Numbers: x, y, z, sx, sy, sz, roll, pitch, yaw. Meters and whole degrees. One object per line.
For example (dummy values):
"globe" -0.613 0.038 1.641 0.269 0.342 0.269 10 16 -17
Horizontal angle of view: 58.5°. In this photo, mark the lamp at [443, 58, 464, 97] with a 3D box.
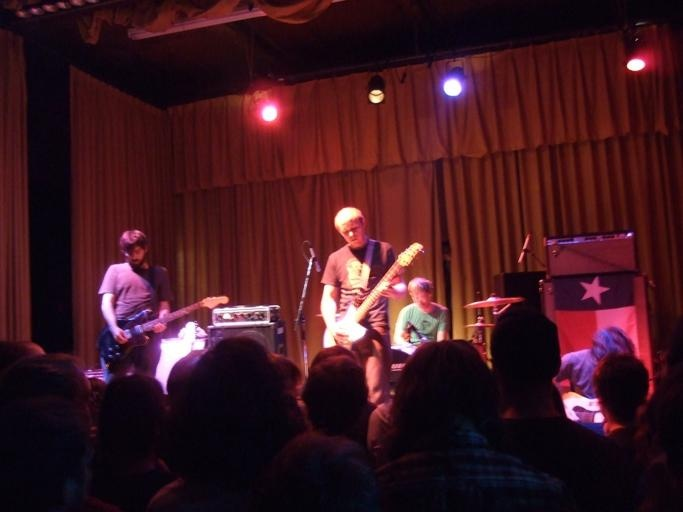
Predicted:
"lamp" 1.194 -1.913 6.496 0.242 0.486 0.409 -3 -8 10

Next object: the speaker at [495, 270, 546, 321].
"speaker" 1.447 0.299 4.878 0.470 0.473 0.265 0 -1 6

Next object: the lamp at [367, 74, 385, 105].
"lamp" 0.364 -1.768 6.441 0.162 0.285 0.278 -2 -8 3

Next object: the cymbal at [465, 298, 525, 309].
"cymbal" 1.383 0.427 5.482 0.260 0.067 0.268 -4 2 37

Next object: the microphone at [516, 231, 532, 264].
"microphone" 1.945 -0.087 6.471 0.082 0.331 0.089 21 -9 -4
